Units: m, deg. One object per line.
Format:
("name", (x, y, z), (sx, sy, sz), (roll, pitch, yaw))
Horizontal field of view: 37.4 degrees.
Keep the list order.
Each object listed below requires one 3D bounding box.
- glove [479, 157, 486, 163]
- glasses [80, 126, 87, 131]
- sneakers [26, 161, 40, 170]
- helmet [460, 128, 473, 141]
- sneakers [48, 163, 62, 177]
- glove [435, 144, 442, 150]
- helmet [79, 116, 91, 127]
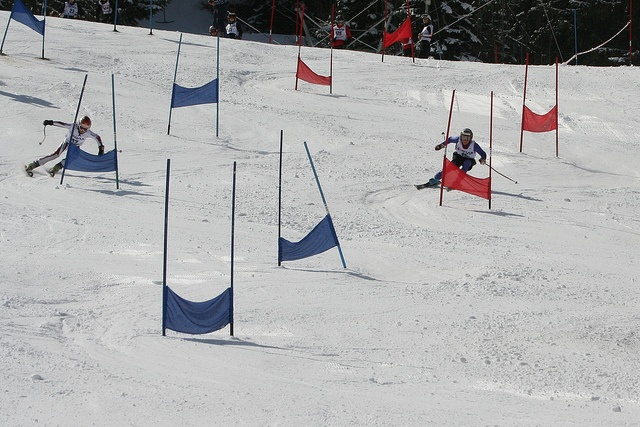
("glove", (4.453, -1.415, 25.832), (0.124, 0.125, 0.259), (7, 13, 3))
("glasses", (-6.516, -2.335, 26.272), (0.114, 0.073, 0.134), (14, -11, -1))
("sneakers", (-7.861, -1.320, 26.060), (0.204, 0.152, 0.453), (-23, 9, 6))
("helmet", (4.119, -2.190, 26.433), (0.274, 0.310, 0.358), (3, -1, 4))
("sneakers", (-7.324, -1.199, 26.310), (0.442, 0.271, 0.135), (-38, 16, -3))
("glove", (3.292, -1.807, 26.157), (0.106, 0.097, 0.278), (-8, 12, 35))
("helmet", (-6.471, -2.542, 26.368), (0.325, 0.417, 0.422), (9, 8, -6))
